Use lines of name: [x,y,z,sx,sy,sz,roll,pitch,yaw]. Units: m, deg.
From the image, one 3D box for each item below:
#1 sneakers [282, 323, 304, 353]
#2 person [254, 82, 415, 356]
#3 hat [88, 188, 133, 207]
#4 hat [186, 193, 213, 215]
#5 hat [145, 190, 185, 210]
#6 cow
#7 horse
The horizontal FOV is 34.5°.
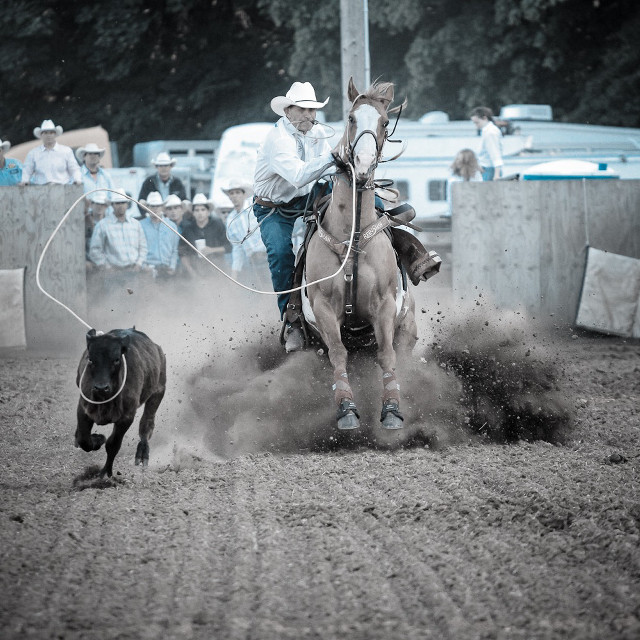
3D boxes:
sneakers: [-0.219,0.158,8.479,0.141,0.237,0.220,0,-20,1]
person: [-0.189,-0.853,8.529,0.922,2.092,0.544,-2,2,34]
hat: [-2.572,-1.448,12.256,0.459,0.180,0.724,-8,13,-26]
hat: [-1.601,-1.519,13.641,0.510,0.227,0.628,-2,-4,-3]
hat: [-1.991,-1.528,13.047,0.500,0.214,0.607,-3,12,-4]
cow: [-1.476,0.542,7.443,0.432,1.040,1.529,11,3,4]
horse: [0.260,-0.362,7.695,0.788,2.779,1.352,-1,10,5]
